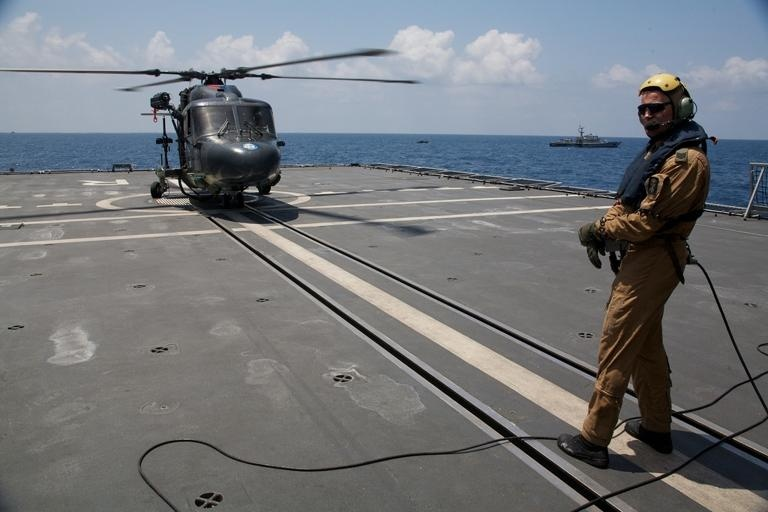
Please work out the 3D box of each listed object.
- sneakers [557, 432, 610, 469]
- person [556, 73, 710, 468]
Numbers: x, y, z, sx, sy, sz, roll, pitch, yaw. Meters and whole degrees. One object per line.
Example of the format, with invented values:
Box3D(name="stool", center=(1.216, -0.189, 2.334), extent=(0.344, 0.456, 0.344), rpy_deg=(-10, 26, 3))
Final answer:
Box3D(name="sneakers", center=(1.479, 1.437, 3.681), extent=(0.392, 0.162, 0.183), rpy_deg=(23, 6, 22))
Box3D(name="person", center=(1.902, 0.095, 3.592), extent=(0.778, 2.797, 1.232), rpy_deg=(8, 20, 26))
